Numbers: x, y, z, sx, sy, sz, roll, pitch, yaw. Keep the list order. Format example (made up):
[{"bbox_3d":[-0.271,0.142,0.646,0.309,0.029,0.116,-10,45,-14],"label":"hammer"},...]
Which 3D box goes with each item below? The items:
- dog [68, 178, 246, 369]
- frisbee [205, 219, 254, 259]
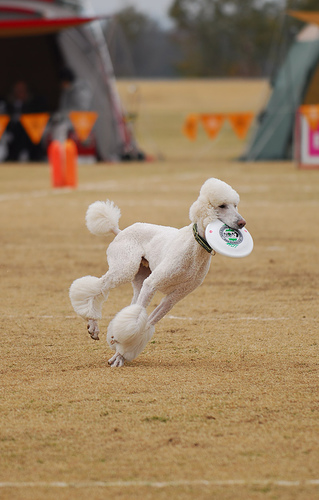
[{"bbox_3d":[-0.011,0.163,4.783,0.981,1.218,0.548,10,15,35],"label":"dog"},{"bbox_3d":[0.388,-0.053,4.507,0.242,0.056,0.247,44,32,13],"label":"frisbee"}]
